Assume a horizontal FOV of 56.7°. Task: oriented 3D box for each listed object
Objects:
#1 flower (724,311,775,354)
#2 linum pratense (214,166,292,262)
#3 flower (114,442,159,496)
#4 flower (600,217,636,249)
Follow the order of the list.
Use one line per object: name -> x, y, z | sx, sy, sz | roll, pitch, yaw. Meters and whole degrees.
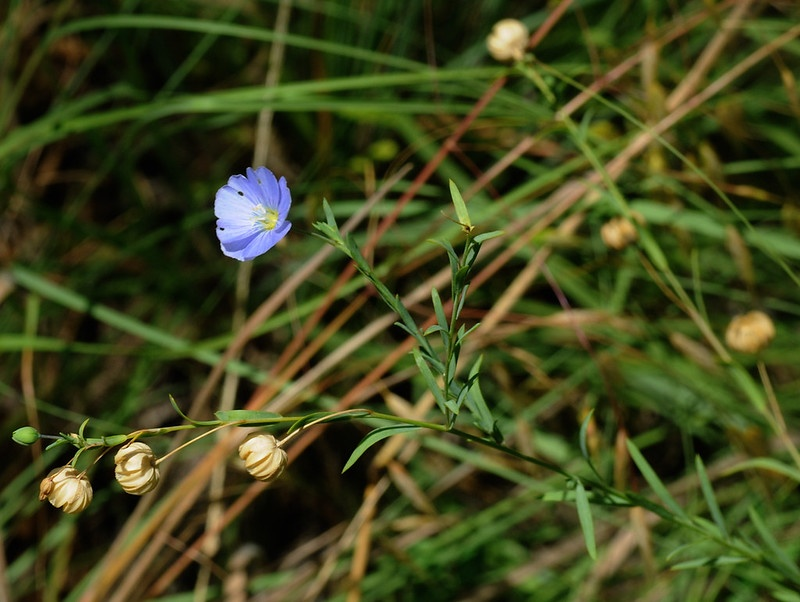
flower -> 1.203, 0.111, 2.558 | 0.133, 0.127, 0.137 | 9, 62, 5
linum pratense -> -0.447, -0.326, 2.528 | 0.248, 0.250, 0.115 | -36, 74, 3
flower -> -0.784, 0.489, 2.255 | 0.135, 0.133, 0.128 | -31, 81, -24
flower -> 0.772, -0.230, 2.602 | 0.110, 0.061, 0.098 | 34, 99, 30
